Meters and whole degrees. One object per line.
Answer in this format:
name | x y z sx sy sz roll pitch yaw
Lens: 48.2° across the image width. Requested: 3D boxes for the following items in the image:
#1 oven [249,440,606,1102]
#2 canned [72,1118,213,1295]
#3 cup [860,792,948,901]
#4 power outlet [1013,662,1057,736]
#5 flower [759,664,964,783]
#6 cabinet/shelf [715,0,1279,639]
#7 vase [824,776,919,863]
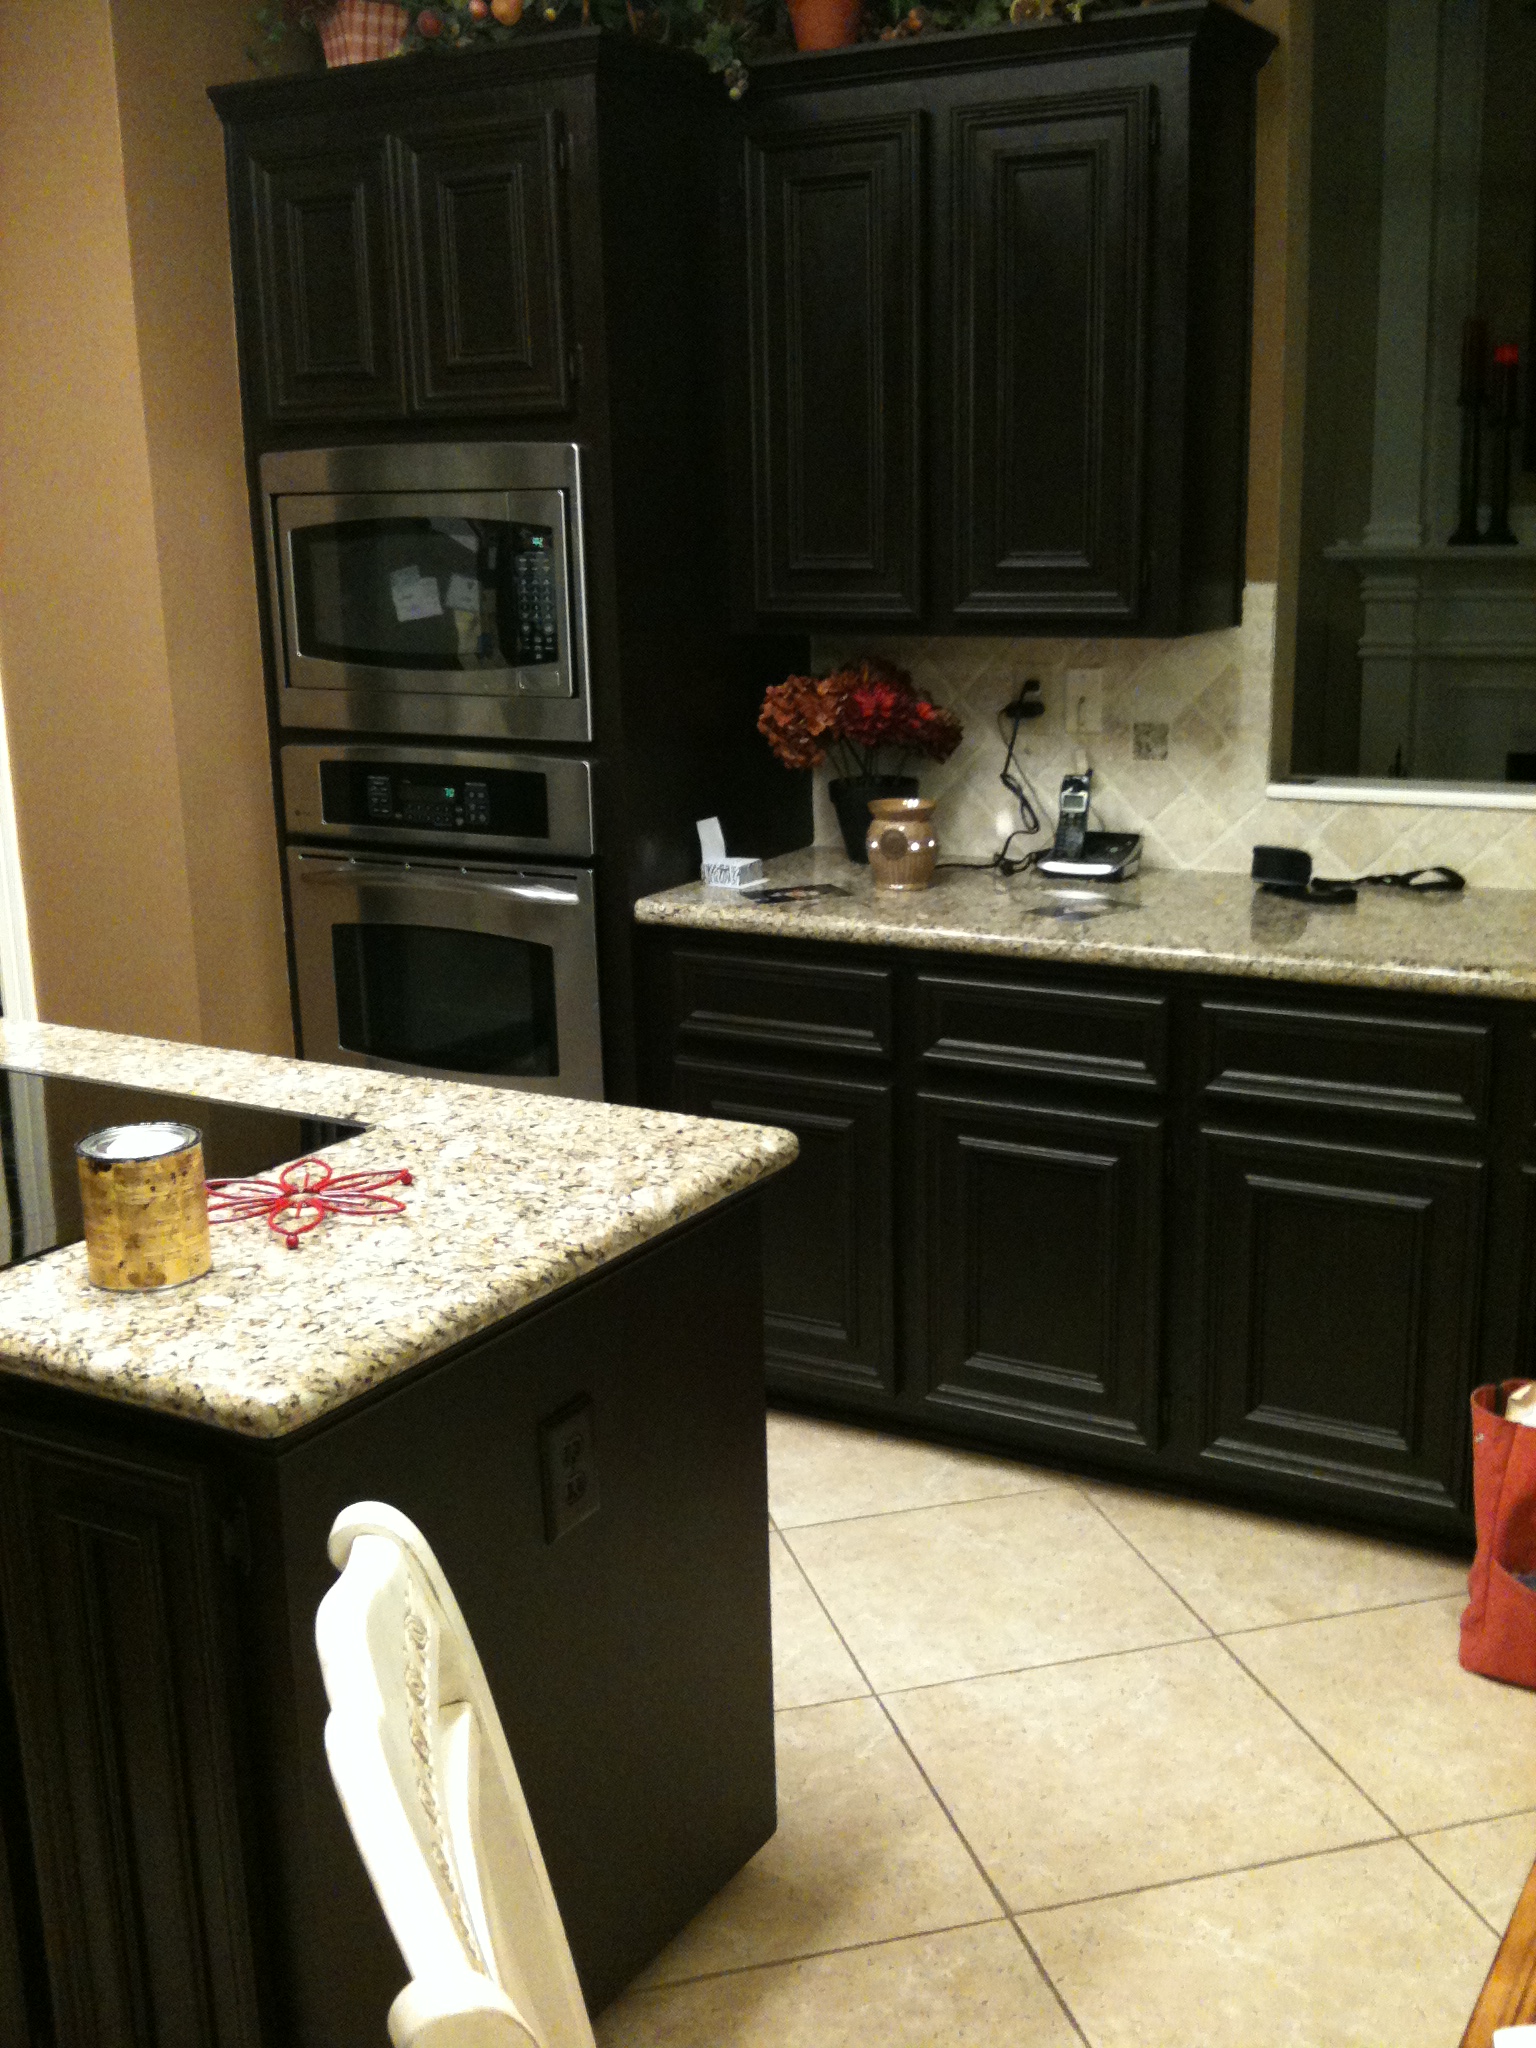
oven | -0.497 -0.428 3.190 0.685 1.200 0.542 8 20 23
canned | -0.428 0.126 1.248 0.112 0.119 0.110 2 16 -4
cup | 0.218 -0.295 2.870 0.145 0.148 0.139 -1 23 0
power outlet | 0.467 -0.583 3.100 0.076 0.100 0.033 1 12 13
flower | 0.165 -0.538 3.054 0.276 0.192 0.246 4 5 -38
cabinet/shelf | 0.371 -1.131 2.678 0.946 0.885 0.371 9 16 33
vase | 0.189 -0.377 3.191 0.155 0.163 0.155 10 17 33
